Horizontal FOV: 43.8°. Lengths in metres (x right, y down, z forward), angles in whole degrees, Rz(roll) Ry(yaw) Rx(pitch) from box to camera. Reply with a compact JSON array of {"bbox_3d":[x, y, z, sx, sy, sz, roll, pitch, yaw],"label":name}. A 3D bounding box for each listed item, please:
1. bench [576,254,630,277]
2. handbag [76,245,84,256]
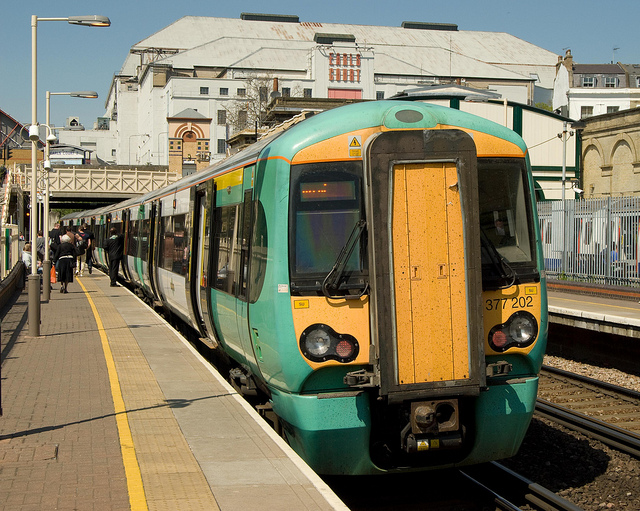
[{"bbox_3d":[9.230,0.300,25.631,0.194,0.713,2.880,-1,4,-12],"label":"bench"},{"bbox_3d":[-9.170,-0.169,30.131,0.328,0.356,0.333,2,-11,-31],"label":"handbag"}]
